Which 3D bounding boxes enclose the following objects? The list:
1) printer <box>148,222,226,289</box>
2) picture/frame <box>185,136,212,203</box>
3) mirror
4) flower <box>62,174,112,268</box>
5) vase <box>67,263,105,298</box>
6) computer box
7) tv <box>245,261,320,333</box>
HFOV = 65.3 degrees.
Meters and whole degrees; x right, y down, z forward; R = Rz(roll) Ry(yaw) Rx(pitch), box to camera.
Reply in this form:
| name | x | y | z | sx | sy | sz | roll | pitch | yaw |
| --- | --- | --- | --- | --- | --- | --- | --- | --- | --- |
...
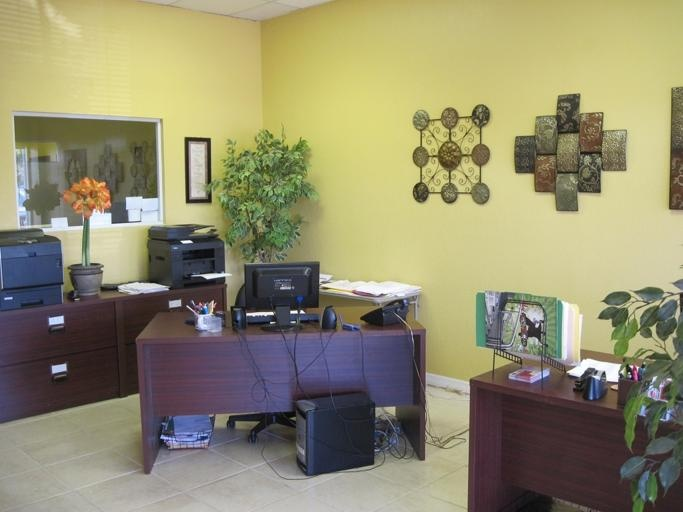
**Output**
| name | x | y | z | sx | sy | sz | roll | pitch | yaw |
| --- | --- | --- | --- | --- | --- | --- | --- | --- | --- |
| printer | -1.610 | -0.023 | 5.503 | 0.738 | 0.601 | 0.748 | -3 | 7 | -15 |
| picture/frame | -1.577 | -0.939 | 5.847 | 0.041 | 0.697 | 0.296 | 12 | 14 | 41 |
| mirror | -2.460 | -0.794 | 5.199 | 1.337 | 1.090 | 0.035 | -3 | -2 | -13 |
| flower | -2.368 | -0.334 | 4.993 | 0.360 | 0.790 | 0.500 | -6 | 11 | -28 |
| vase | -2.353 | 0.204 | 4.917 | 0.303 | 0.291 | 0.311 | 2 | 10 | -10 |
| computer box | -0.024 | 1.210 | 3.833 | 0.583 | 0.555 | 0.460 | -1 | 23 | -14 |
| tv | -0.428 | 0.288 | 3.845 | 0.510 | 0.498 | 0.204 | -1 | 8 | -11 |
